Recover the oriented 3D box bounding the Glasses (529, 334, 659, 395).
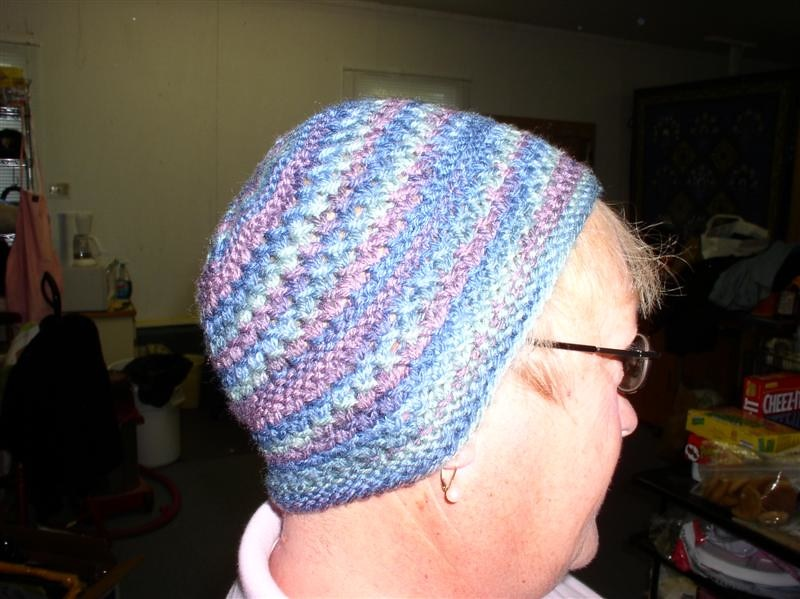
[{"bbox_3d":[0.756,0.216,2.622,0.279,0.123,0.292,6,-1,-9],"label":"Glasses"}]
